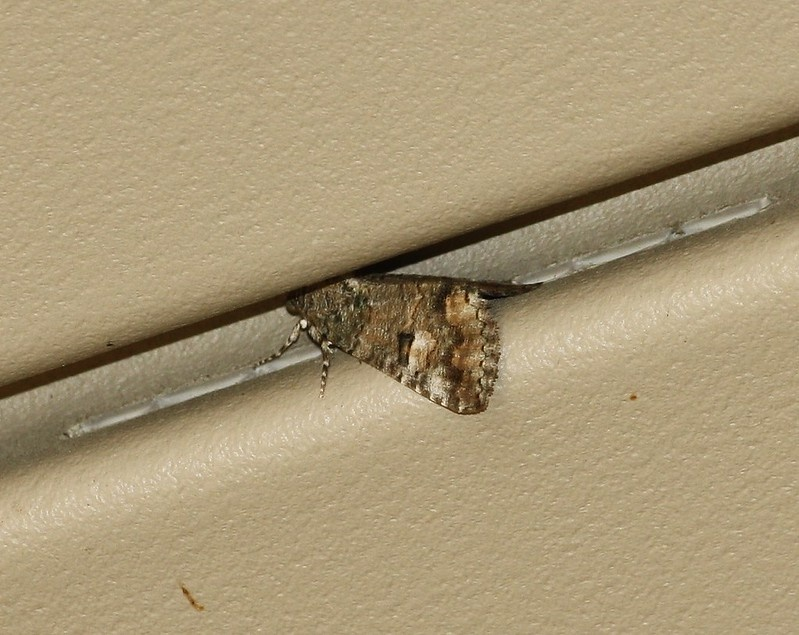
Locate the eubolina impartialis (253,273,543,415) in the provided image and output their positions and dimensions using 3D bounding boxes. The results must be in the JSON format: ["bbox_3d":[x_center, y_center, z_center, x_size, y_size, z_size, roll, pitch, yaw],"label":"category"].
[{"bbox_3d":[-0.026,0.013,1.670,0.297,0.062,0.202,5,45,-33],"label":"eubolina impartialis"}]
